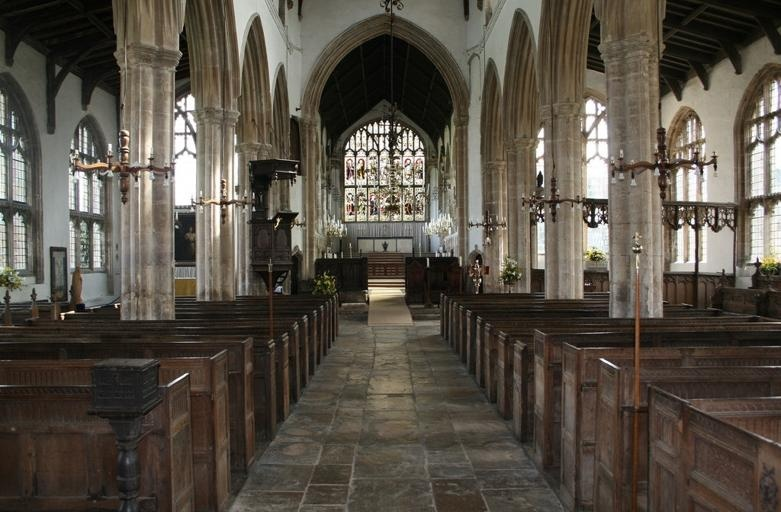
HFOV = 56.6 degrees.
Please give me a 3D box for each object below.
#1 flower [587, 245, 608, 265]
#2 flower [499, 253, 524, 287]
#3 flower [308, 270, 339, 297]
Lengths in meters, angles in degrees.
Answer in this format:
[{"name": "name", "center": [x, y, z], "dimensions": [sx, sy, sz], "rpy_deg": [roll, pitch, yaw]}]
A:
[{"name": "flower", "center": [7.065, -0.003, 24.978], "dimensions": [0.627, 0.491, 0.624], "rpy_deg": [1, 6, -15]}, {"name": "flower", "center": [3.377, 0.452, 20.987], "dimensions": [0.723, 1.079, 0.740], "rpy_deg": [-2, 5, -14]}, {"name": "flower", "center": [-2.134, 0.905, 22.174], "dimensions": [0.864, 0.950, 0.916], "rpy_deg": [1, 2, 13]}]
